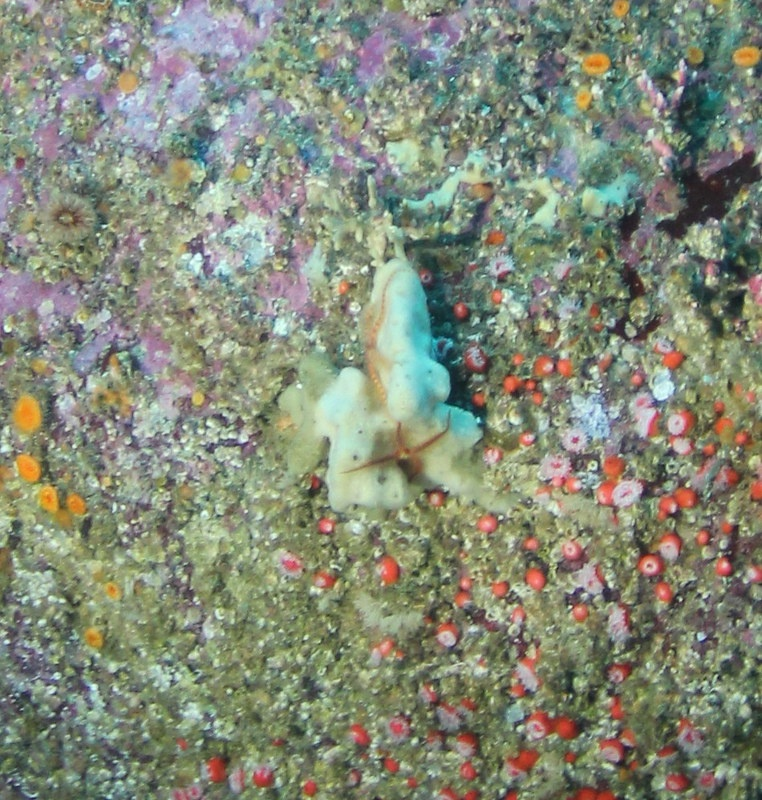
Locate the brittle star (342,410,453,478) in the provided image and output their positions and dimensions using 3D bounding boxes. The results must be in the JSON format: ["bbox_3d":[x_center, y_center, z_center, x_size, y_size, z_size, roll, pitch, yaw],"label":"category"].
[{"bbox_3d":[0.099,0.237,4.822,0.341,0.066,0.274,-21,-67,-1],"label":"brittle star"}]
